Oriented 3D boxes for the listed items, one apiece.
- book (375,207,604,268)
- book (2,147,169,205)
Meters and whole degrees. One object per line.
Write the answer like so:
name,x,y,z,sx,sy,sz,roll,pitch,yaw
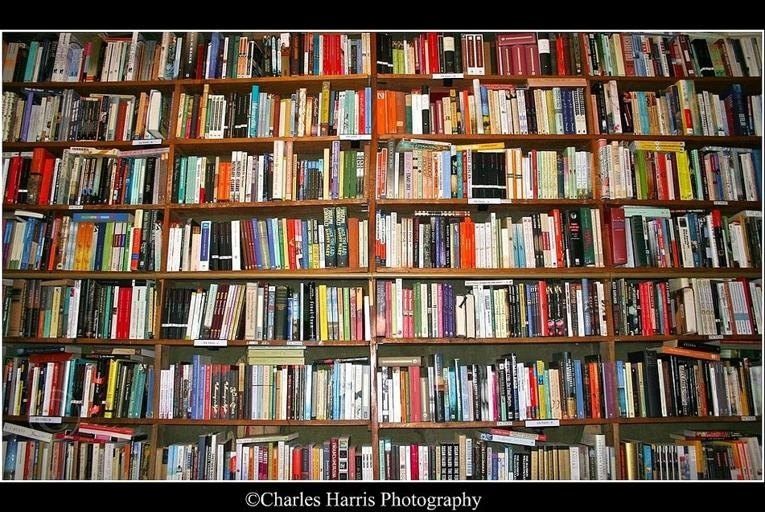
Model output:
book,0.670,-0.097,5.539,1.444,0.137,0.375,0,73,-4
book,-1.920,-0.481,5.649,1.378,0.375,0.406,-1,86,3
